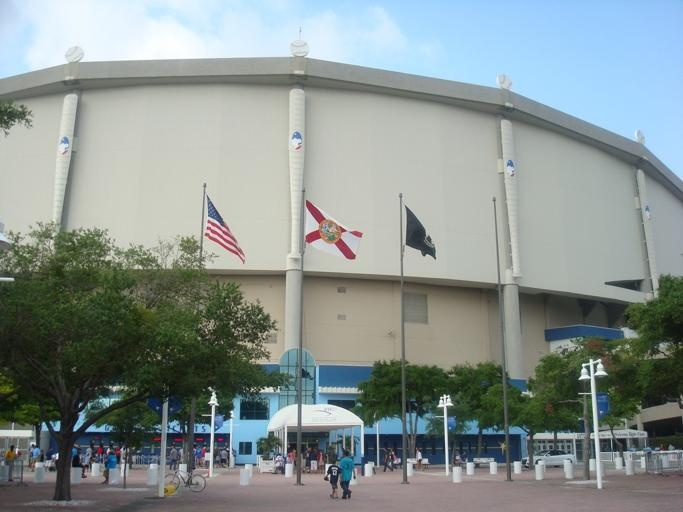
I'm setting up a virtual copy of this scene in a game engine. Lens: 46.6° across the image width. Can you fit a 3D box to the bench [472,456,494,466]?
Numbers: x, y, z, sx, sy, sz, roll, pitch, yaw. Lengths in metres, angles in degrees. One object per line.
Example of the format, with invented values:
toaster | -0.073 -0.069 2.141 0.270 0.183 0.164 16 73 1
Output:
bench | 13.353 19.450 74.482 1.228 1.125 6.712 -6 -21 15
